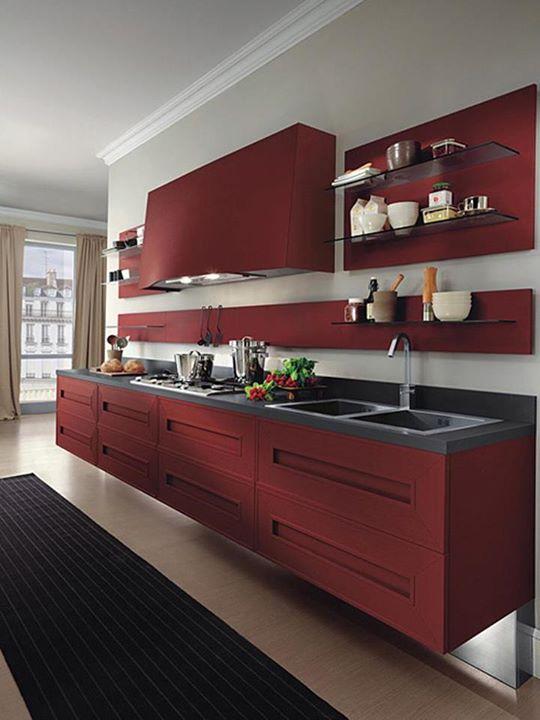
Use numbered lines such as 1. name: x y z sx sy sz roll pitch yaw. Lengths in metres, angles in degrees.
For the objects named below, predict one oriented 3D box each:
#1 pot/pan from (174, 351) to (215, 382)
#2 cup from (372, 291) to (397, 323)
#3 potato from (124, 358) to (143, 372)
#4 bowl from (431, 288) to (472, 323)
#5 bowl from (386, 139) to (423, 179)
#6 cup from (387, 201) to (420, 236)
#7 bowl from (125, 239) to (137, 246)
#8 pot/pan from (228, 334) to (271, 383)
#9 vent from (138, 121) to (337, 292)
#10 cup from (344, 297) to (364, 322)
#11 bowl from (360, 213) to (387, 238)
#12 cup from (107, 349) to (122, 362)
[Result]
1. pot/pan: -0.442 0.036 3.126 0.155 0.188 0.223 1 -2 -28
2. cup: 0.468 -0.218 2.146 0.123 0.175 0.115 2 3 0
3. potato: -1.038 0.048 4.040 0.103 0.044 0.137 1 13 -13
4. bowl: 0.643 -0.187 1.867 0.120 0.090 0.117 0 -1 0
5. bowl: 0.512 -0.760 2.024 0.135 0.096 0.136 -1 6 0
6. cup: 0.524 -0.574 2.122 0.120 0.111 0.133 9 14 43
7. bowl: -1.102 -0.928 4.192 0.071 0.072 0.069 1 6 0
8. pot/pan: -0.113 0.006 2.881 0.192 0.255 0.181 0 4 -9
9. vent: -0.165 -0.827 2.897 0.247 0.639 1.426 16 -11 -36
10. cup: 0.359 -0.221 2.319 0.094 0.128 0.095 1 -5 0
11. bowl: 0.426 -0.549 2.162 0.085 0.064 0.089 0 -1 0
12. cup: -1.288 -0.035 4.342 0.095 0.076 0.101 0 -6 0
